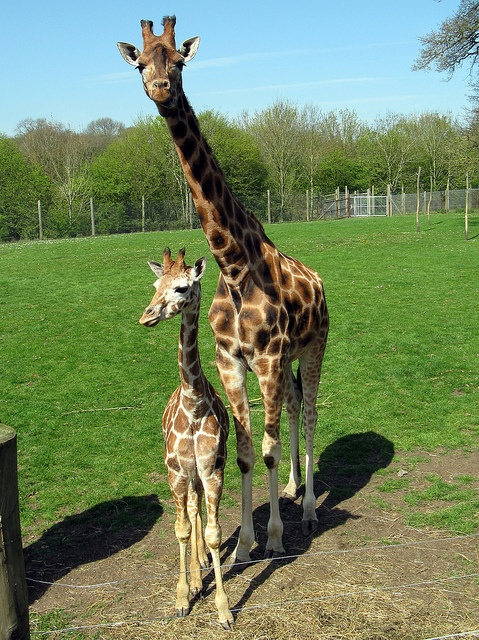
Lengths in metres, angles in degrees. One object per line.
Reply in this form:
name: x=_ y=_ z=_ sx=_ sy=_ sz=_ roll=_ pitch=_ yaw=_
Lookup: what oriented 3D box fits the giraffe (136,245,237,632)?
giraffe: x=-0.412 y=0.929 z=6.960 sx=0.663 sy=3.171 sz=1.092 roll=-1 pitch=12 yaw=-2
